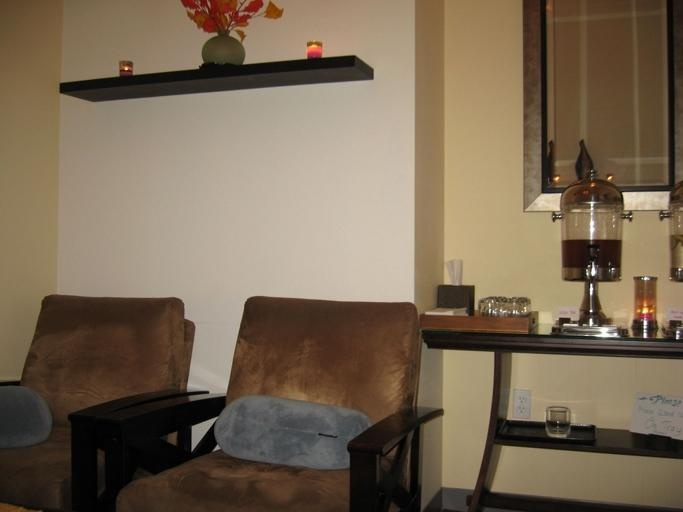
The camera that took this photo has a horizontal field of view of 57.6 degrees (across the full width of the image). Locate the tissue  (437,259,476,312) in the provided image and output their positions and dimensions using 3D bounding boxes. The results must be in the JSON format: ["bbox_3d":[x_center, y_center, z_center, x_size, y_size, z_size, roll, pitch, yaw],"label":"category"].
[{"bbox_3d":[0.553,0.150,3.006,0.182,0.253,0.308,2,-2,19],"label":"tissue "}]

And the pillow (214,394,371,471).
[{"bbox_3d":[-0.177,0.678,2.376,0.514,0.231,0.257,3,-43,21],"label":"pillow"}]

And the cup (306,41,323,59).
[{"bbox_3d":[-0.121,-0.878,2.675,0.061,0.088,0.059,2,-2,0],"label":"cup"}]

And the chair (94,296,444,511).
[{"bbox_3d":[-0.173,0.519,2.389,0.764,0.938,0.860,-2,-10,18],"label":"chair"}]

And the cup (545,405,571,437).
[{"bbox_3d":[0.928,0.707,2.659,0.115,0.118,0.092,0,-3,28],"label":"cup"}]

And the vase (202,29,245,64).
[{"bbox_3d":[-0.531,-0.904,2.749,0.150,0.159,0.156,0,6,-6],"label":"vase"}]
